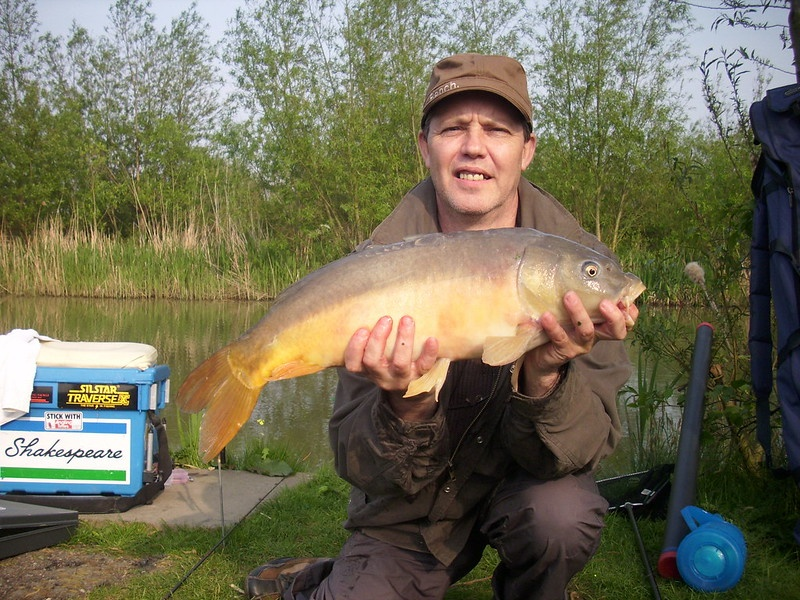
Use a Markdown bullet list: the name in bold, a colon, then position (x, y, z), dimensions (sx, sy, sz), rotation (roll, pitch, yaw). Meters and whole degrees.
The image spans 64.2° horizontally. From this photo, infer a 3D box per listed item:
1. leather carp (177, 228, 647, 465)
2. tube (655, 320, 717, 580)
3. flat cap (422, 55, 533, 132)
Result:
- **leather carp**: position (0.028, 0.159, 2.640), dimensions (1.938, 0.864, 0.414), rotation (-9, -21, 4)
- **tube**: position (1.702, 0.885, 3.725), dimensions (0.240, 2.120, 0.259), rotation (-9, -37, 41)
- **flat cap**: position (0.402, -1.132, 3.459), dimensions (0.619, 0.405, 0.664), rotation (1, 5, 1)
